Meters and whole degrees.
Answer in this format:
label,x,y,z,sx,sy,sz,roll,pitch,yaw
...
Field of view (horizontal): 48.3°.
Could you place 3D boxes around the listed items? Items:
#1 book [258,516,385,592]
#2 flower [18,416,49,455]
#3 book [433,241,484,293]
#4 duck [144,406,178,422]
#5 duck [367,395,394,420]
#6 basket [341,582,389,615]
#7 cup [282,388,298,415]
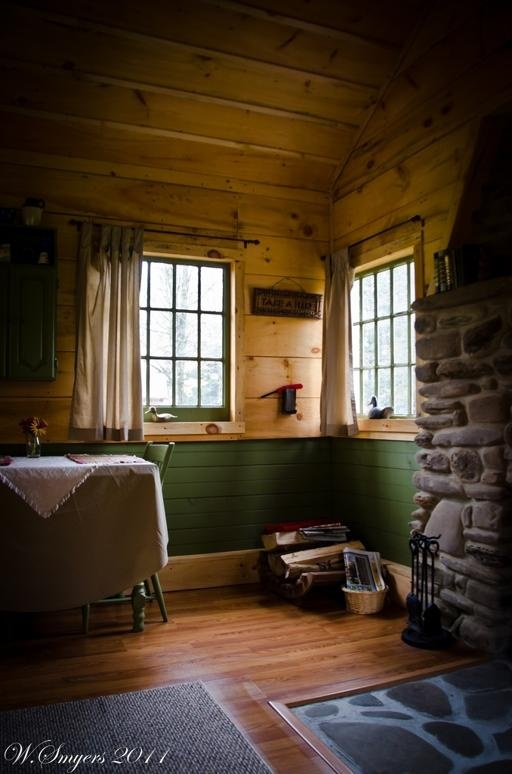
label,x,y,z,sx,sy,sz,roll,pitch,yaw
book,0.346,1.017,3.379,0.558,0.377,0.655,1,-7,-13
flower,-1.150,0.260,2.946,0.110,0.202,0.169,2,-7,-17
book,0.866,-0.501,2.495,0.102,0.218,0.343,0,-6,-6
duck,-0.580,0.156,3.458,0.211,0.107,0.077,0,-5,-15
duck,0.736,0.126,3.460,0.083,0.146,0.210,2,-7,-21
basket,0.574,1.104,2.986,0.144,0.077,0.144,2,-6,-20
cup,0.227,0.092,3.778,0.116,0.178,0.112,0,-6,0
